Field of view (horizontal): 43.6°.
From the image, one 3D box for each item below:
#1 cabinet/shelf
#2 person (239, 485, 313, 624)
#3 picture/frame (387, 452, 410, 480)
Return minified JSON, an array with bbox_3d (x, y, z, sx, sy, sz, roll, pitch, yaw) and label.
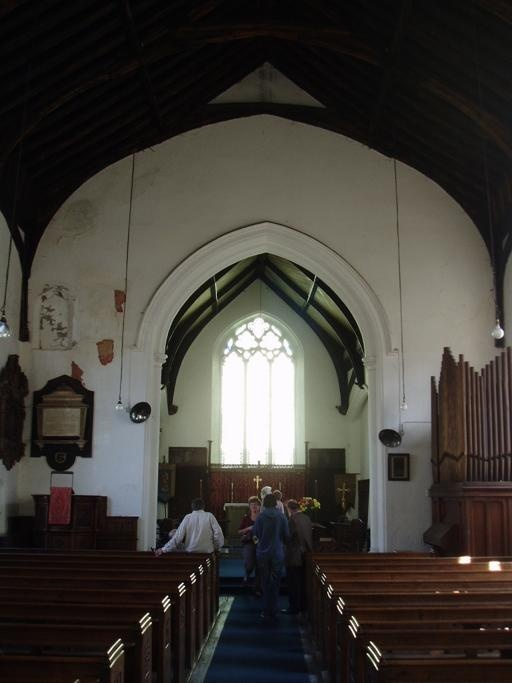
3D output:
[{"bbox_3d":[-2.747,2.694,9.521,1.934,0.840,0.712,2,-10,-16],"label":"cabinet/shelf"},{"bbox_3d":[0.314,2.438,7.372,0.673,1.346,0.406,3,-10,-25],"label":"person"},{"bbox_3d":[2.186,1.934,9.826,0.260,0.480,0.051,1,-16,5],"label":"picture/frame"}]
